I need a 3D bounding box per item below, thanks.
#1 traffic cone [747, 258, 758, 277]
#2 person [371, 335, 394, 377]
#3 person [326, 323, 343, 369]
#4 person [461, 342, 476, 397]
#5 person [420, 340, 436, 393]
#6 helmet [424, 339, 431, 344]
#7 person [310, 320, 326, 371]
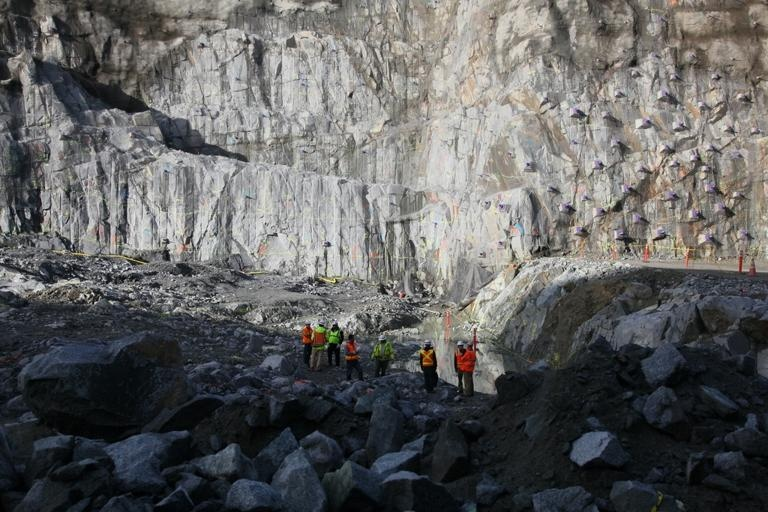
[{"bbox_3d":[18.441,0.593,39.154,0.573,0.942,0.640,-1,1,-11],"label":"traffic cone"},{"bbox_3d":[-0.160,4.342,34.258,0.813,1.811,0.948,2,-1,-9],"label":"person"},{"bbox_3d":[-2.341,3.985,35.571,0.681,1.941,1.571,2,-1,-4],"label":"person"},{"bbox_3d":[3.474,4.761,32.916,0.523,2.166,0.668,2,-1,10],"label":"person"},{"bbox_3d":[1.831,4.653,33.062,0.713,2.181,0.705,2,-1,2],"label":"person"},{"bbox_3d":[1.778,3.655,32.969,0.292,0.220,0.321,1,-6,-9],"label":"helmet"},{"bbox_3d":[-3.033,4.005,35.038,0.645,2.119,1.006,2,-1,-6],"label":"person"}]
